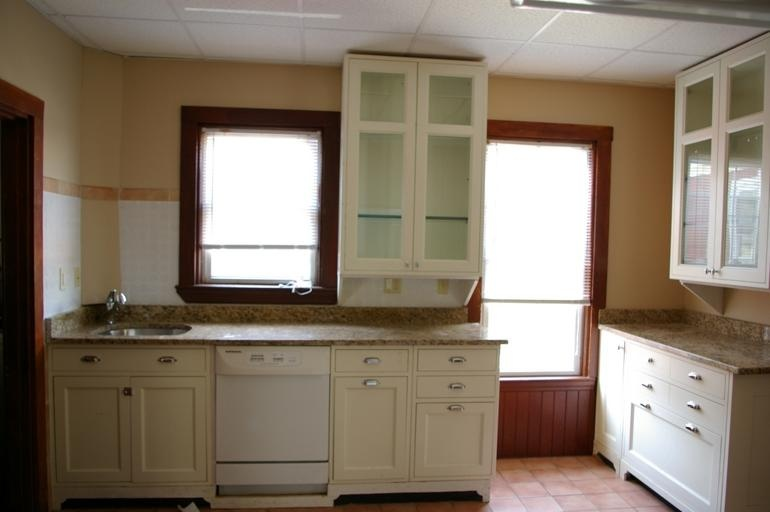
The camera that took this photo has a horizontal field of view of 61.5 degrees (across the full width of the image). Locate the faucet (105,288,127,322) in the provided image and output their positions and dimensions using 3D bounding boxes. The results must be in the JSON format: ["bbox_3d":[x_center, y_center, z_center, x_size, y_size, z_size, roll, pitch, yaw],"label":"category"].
[{"bbox_3d":[-2.052,0.378,4.960,0.157,0.253,0.099,-1,1,-22],"label":"faucet"}]
